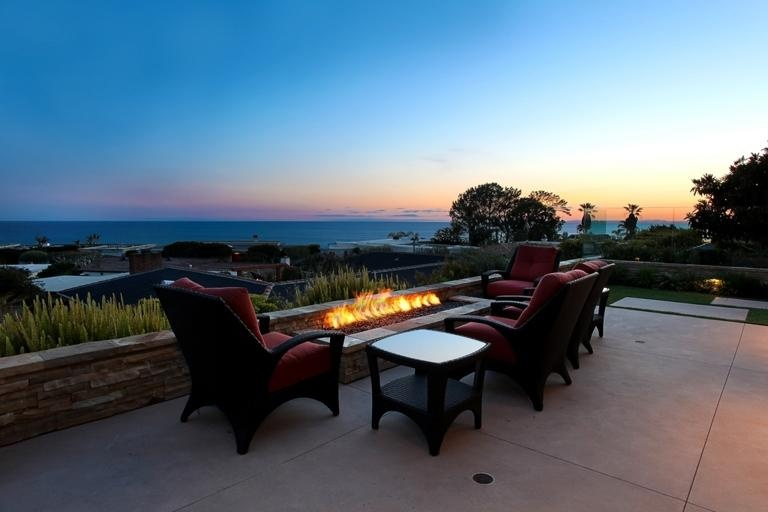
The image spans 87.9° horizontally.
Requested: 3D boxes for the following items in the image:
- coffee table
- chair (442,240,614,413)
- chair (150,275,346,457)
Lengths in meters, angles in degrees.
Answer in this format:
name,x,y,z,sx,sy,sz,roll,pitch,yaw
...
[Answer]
name,x,y,z,sx,sy,sz,roll,pitch,yaw
coffee table,0.497,1.240,4.097,1.098,0.781,1.080,-3,5,-44
chair,1.502,0.822,4.769,1.766,1.542,1.549,1,3,42
chair,-1.375,1.007,4.140,1.308,1.310,1.613,3,-2,33
